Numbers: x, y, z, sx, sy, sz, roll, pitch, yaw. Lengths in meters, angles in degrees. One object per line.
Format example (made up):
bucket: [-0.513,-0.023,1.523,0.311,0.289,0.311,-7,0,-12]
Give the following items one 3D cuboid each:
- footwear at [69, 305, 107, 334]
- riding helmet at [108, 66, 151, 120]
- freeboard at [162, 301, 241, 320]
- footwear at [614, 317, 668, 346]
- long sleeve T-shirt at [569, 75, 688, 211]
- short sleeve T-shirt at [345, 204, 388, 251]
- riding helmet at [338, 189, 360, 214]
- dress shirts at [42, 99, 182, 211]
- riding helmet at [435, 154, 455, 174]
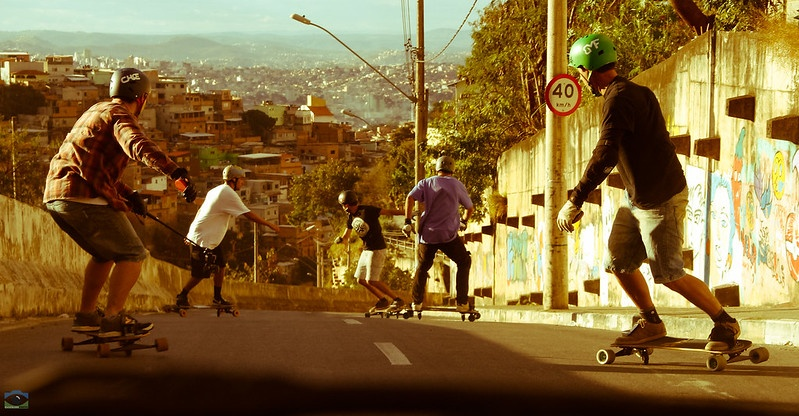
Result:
footwear: [-4.441,1.620,11.126,0.228,0.273,0.599,1,0,22]
riding helmet: [-3.855,-1.649,11.263,0.608,0.780,0.716,10,11,29]
freeboard: [-4.258,2.191,16.844,1.531,0.216,0.614,1,0,-21]
footwear: [3.386,1.765,11.035,0.778,0.324,0.310,-3,-6,-1]
long sleeve T-shirt: [3.175,-0.887,10.653,1.466,1.754,0.420,2,1,-15]
short sleeve T-shirt: [-0.713,0.452,17.498,0.847,0.849,0.461,2,1,-35]
riding helmet: [-1.137,-0.120,17.692,0.475,0.593,0.548,-5,25,-5]
dress shirts: [-4.075,-0.731,10.904,1.727,1.072,0.561,3,1,24]
riding helmet: [0.937,-0.898,16.159,0.313,0.369,0.401,4,13,-1]
